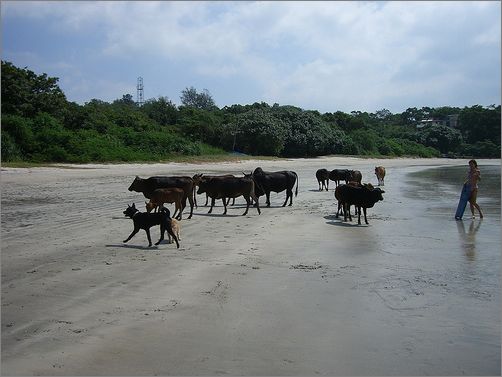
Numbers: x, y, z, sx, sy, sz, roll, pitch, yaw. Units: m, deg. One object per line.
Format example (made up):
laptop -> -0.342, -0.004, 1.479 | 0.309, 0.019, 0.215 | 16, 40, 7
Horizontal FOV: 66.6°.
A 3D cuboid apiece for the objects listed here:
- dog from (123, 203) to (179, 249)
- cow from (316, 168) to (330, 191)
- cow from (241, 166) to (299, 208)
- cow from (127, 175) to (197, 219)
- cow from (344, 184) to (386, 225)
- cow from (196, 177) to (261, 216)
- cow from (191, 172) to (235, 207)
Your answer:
dog -> -2.272, 0.848, 8.780 | 1.600, 0.916, 0.743 | 1, 4, 29
cow -> 3.960, -0.491, 20.983 | 0.639, 1.144, 2.422 | 0, 4, 10
cow -> 0.783, -0.058, 15.153 | 2.421, 1.539, 0.651 | -1, -2, -16
cow -> -2.914, 0.219, 12.484 | 2.268, 1.264, 0.563 | 3, 3, 1
cow -> 3.340, 0.478, 11.529 | 1.222, 1.161, 0.685 | 1, 4, 34
cow -> -0.842, 0.271, 13.403 | 2.335, 1.313, 0.581 | 0, 1, 12
cow -> -1.297, -0.031, 14.388 | 2.520, 1.399, 0.974 | 1, -2, -3
